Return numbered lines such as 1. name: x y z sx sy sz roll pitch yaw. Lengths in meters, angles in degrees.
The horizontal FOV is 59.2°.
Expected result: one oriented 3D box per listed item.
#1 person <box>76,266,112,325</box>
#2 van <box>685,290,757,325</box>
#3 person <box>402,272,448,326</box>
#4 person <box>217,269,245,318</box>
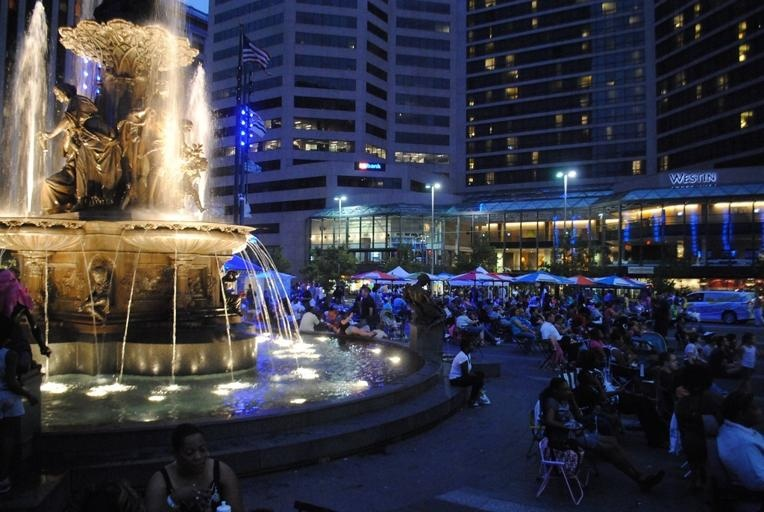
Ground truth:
1. person: -7.939 1.115 18.543 1.081 1.755 1.603 5 -5 -37
2. van: 20.039 3.022 39.530 3.882 1.525 2.076 4 0 18
3. person: 1.411 1.403 22.168 1.143 1.686 1.190 1 -1 -1
4. person: -4.918 1.148 20.766 0.465 1.338 1.071 -7 -8 14
